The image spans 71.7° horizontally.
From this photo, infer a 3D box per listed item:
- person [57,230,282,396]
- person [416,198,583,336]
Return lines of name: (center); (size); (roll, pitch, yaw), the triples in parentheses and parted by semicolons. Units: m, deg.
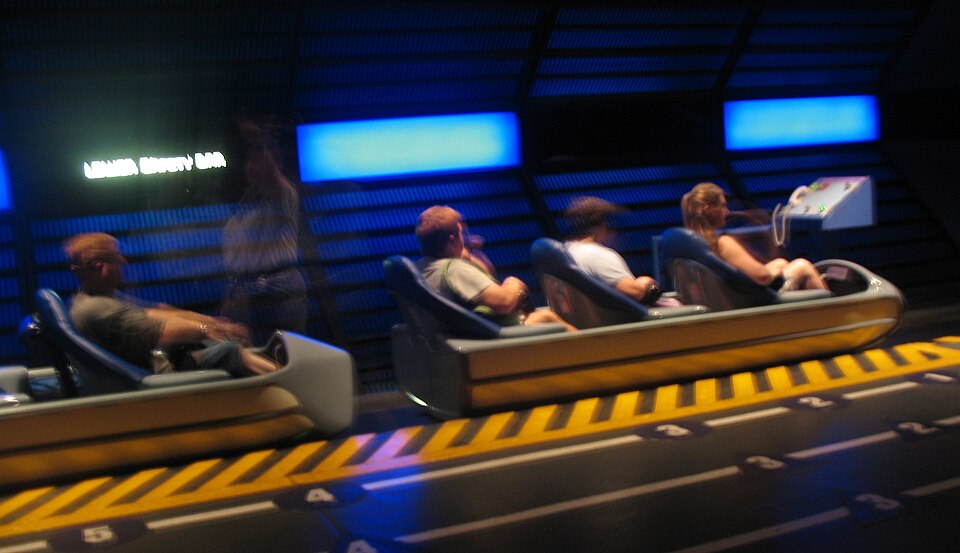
person: (-2.345, 0.275, 5.437); (1.842, 0.948, 0.877); (7, 10, -38)
person: (0.310, 0.064, 5.934); (1.847, 1.109, 0.904); (3, 1, -25)
